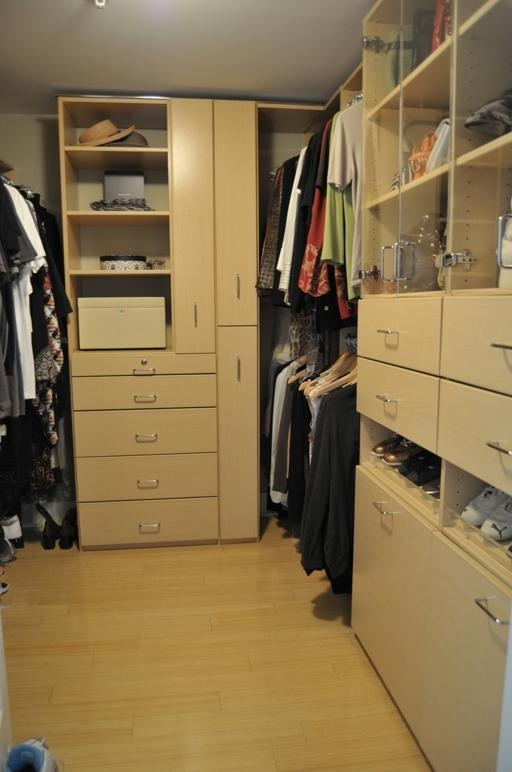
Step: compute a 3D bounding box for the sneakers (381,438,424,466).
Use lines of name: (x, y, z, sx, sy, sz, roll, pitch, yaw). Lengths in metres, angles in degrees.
sneakers: (0.434, 0.196, 1.747, 0.049, 0.062, 0.147, 3, 6, 41)

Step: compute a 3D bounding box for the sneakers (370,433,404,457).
sneakers: (0.404, 0.179, 1.801, 0.041, 0.050, 0.121, 14, 17, 43)

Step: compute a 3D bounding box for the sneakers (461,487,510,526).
sneakers: (0.483, 0.255, 1.244, 0.125, 0.050, 0.040, -42, 43, -12)

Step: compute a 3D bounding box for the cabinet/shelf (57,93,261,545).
cabinet/shelf: (-0.447, -0.267, 2.862, 0.894, 2.047, 0.461, -1, 6, -9)

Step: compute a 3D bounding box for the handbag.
handbag: (0.383, -0.520, 1.324, 0.034, 0.086, 0.115, 27, -15, 13)
